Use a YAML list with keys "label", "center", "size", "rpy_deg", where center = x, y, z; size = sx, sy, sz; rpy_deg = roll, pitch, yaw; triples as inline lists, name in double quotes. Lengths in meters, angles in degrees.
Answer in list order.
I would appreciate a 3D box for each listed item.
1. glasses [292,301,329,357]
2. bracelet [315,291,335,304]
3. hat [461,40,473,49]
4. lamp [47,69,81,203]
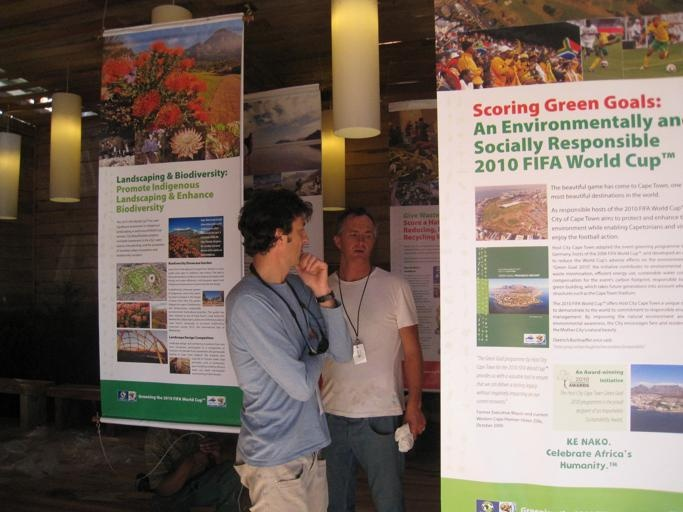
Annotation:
- label: "glasses"
  center: [-0.185, 0.369, 3.220]
  size: [0.155, 0.295, 0.073]
  rpy_deg: [-23, -9, -38]
- label: "bracelet"
  center: [-0.085, 0.221, 3.230]
  size: [0.086, 0.049, 0.086]
  rpy_deg: [-17, -7, -17]
- label: "hat"
  center: [0.606, -1.017, 2.984]
  size: [0.045, 0.041, 0.036]
  rpy_deg: [-11, -5, 28]
- label: "lamp"
  center: [-2.183, -0.868, 4.888]
  size: [0.217, 0.864, 0.200]
  rpy_deg: [0, -2, -22]
